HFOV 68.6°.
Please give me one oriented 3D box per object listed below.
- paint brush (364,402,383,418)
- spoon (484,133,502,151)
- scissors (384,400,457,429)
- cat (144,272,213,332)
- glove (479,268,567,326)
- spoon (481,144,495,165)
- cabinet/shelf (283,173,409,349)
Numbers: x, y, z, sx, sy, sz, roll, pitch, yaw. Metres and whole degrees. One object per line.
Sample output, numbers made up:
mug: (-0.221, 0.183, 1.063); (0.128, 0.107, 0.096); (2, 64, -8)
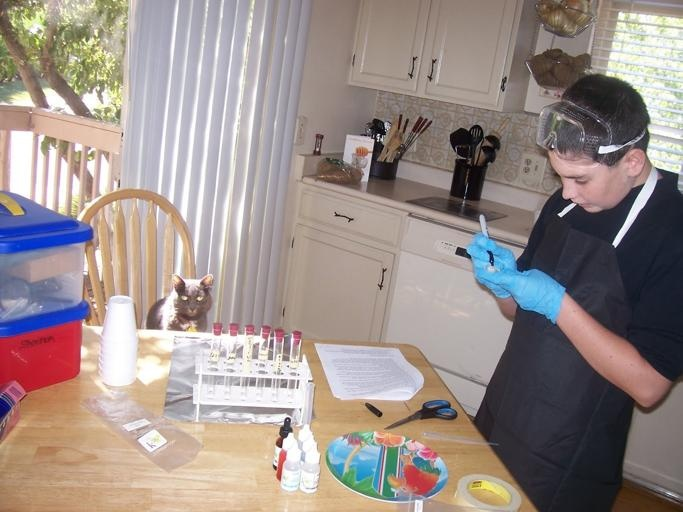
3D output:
paint brush: (0.086, 0.412, 1.363); (0.018, 0.016, 0.067); (-16, 26, -29)
spoon: (0.896, -0.676, 2.953); (0.104, 0.103, 0.081); (-1, 11, -8)
scissors: (0.229, 0.426, 1.366); (0.141, 0.023, 0.078); (-10, 19, -22)
cat: (-0.550, 0.154, 1.694); (0.200, 0.210, 0.218); (-5, 20, -32)
glove: (0.504, 0.084, 1.415); (0.232, 0.132, 0.072); (21, 54, 26)
spoon: (0.870, -0.599, 3.005); (0.082, 0.094, 0.103); (4, 13, 7)
cabinet/shelf: (0.069, 0.055, 3.285); (0.688, 1.208, 0.559); (18, 29, 18)
